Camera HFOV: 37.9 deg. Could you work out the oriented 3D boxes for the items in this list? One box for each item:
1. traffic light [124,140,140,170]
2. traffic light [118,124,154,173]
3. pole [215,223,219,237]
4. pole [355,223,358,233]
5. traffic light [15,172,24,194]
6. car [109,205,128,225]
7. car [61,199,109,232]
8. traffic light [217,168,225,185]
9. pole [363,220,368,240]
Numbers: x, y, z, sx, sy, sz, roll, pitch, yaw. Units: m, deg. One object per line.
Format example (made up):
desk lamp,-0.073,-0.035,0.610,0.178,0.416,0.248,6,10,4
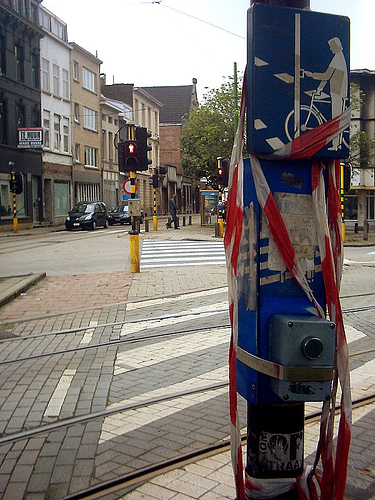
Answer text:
traffic light,-1.286,-2.223,12.710,0.415,0.711,0.263,0,5,14
traffic light,-1.208,-2.365,12.824,0.763,1.096,0.823,-2,5,-10
pole,1.342,-0.897,24.854,0.150,0.641,0.499,-1,5,-4
pole,8.943,-1.135,29.097,0.102,0.535,0.525,0,5,14
traffic light,-9.014,-3.637,29.554,0.334,1.099,2.887,-2,6,-14
car,-5.007,-2.534,40.154,1.289,1.301,2.884,-2,6,-8
car,-6.384,-2.147,34.990,1.517,1.747,3.032,1,6,21
traffic light,1.484,-3.273,24.196,0.326,0.738,0.836,-1,5,3
pole,7.776,-0.862,23.978,0.188,0.860,0.509,0,5,17
